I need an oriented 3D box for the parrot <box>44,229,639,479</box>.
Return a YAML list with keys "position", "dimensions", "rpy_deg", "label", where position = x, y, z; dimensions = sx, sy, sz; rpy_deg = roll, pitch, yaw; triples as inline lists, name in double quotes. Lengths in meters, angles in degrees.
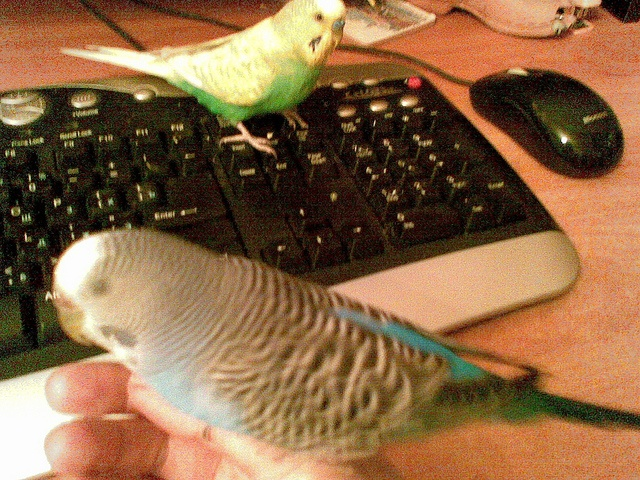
- position: [-0.093, 0.087, 0.480]
  dimensions: [0.639, 0.203, 0.138]
  rpy_deg: [-2, 46, 5]
  label: "parrot"
